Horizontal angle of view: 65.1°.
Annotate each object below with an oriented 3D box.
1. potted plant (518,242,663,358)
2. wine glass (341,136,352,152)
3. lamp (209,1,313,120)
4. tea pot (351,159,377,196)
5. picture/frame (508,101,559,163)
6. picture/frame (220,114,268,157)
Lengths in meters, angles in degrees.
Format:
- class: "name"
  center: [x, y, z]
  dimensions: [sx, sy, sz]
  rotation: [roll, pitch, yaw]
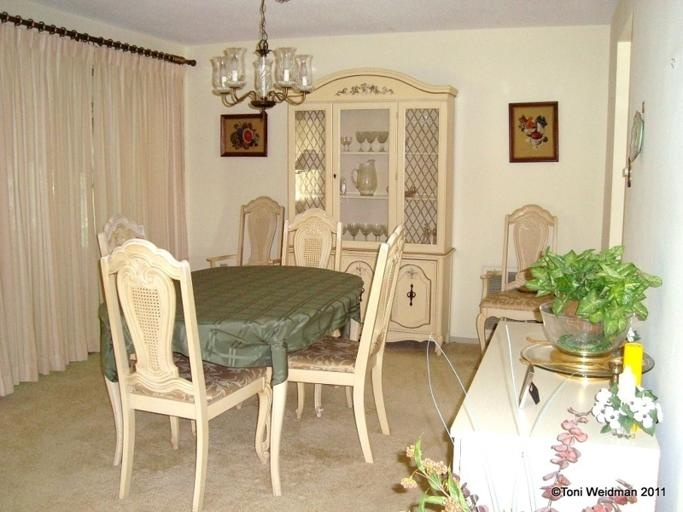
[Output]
- class: "potted plant"
  center: [0.977, 0.096, 2.090]
  dimensions: [0.434, 0.367, 0.492]
  rotation: [0, 5, 32]
- class: "wine glass"
  center: [0.048, -0.981, 4.708]
  dimensions: [0.111, 0.128, 0.113]
  rotation: [8, 10, 40]
- class: "lamp"
  center: [-0.590, -1.393, 3.693]
  dimensions: [0.597, 0.902, 1.388]
  rotation: [-2, 10, -12]
- class: "tea pot"
  center: [0.212, -0.686, 4.731]
  dimensions: [0.301, 0.380, 0.217]
  rotation: [0, 8, 13]
- class: "picture/frame"
  center: [1.691, -1.091, 4.641]
  dimensions: [0.520, 0.656, 0.031]
  rotation: [1, 6, 16]
- class: "picture/frame"
  center: [-0.965, -1.218, 5.365]
  dimensions: [0.620, 0.540, 0.047]
  rotation: [1, 6, 14]
